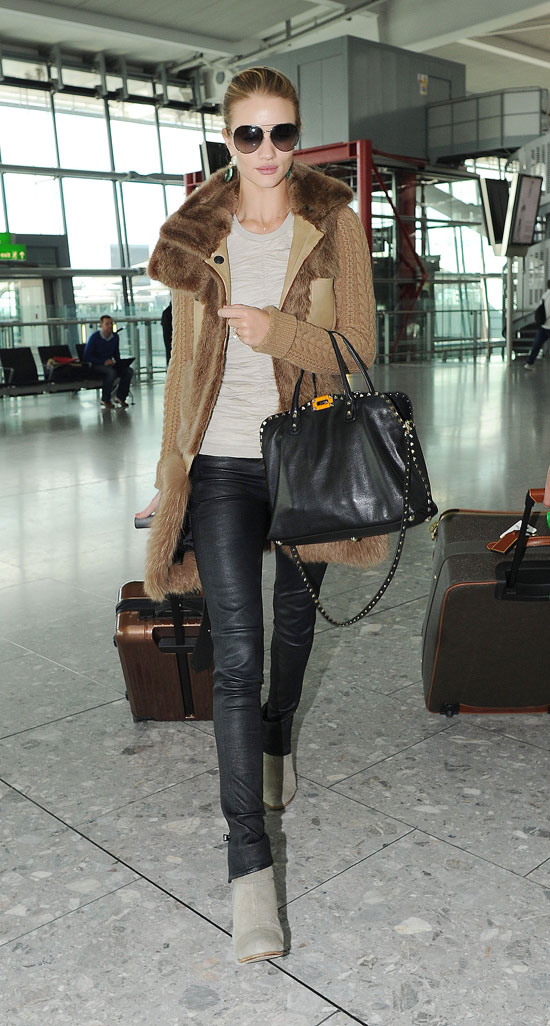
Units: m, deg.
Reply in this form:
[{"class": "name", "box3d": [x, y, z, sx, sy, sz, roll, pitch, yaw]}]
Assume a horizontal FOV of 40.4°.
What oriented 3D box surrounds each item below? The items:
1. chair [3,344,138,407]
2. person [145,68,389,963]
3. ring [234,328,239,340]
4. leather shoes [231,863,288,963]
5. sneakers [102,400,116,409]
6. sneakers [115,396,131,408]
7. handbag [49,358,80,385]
[{"class": "chair", "box3d": [-3.833, -2.438, 12.726, 1.563, 0.872, 1.767, -5, 8, -21]}, {"class": "person", "box3d": [0.004, -0.068, 1.444, 0.502, 1.526, 0.726, -3, 8, -14]}, {"class": "ring", "box3d": [-0.075, -0.336, 1.414, 0.008, 0.031, 0.021, -3, 4, -9]}, {"class": "leather shoes", "box3d": [-0.030, 0.640, 1.194, 0.075, 0.107, 0.110, -2, 8, -6]}, {"class": "sneakers", "box3d": [-2.611, -1.688, 11.731, 0.200, 0.145, 0.594, -3, 8, -12]}, {"class": "sneakers", "box3d": [-2.443, -1.766, 12.031, 0.134, 0.173, 0.387, -5, 11, -26]}, {"class": "handbag", "box3d": [-3.465, -2.297, 12.296, 0.553, 0.576, 0.410, -1, 11, -20]}]
